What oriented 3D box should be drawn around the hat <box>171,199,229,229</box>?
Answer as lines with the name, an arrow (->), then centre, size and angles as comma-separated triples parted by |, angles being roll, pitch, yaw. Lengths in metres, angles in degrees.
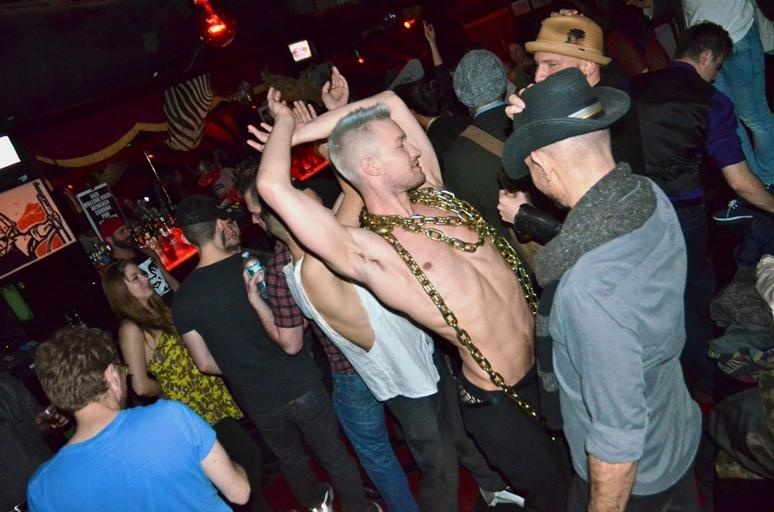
hat -> -1.511, -0.370, 4.316 | 0.343, 0.173, 0.225 | -22, 22, -25

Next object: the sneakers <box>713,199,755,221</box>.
sneakers -> 3.308, -0.438, 5.112 | 0.185, 0.182, 0.397 | -29, 11, -22

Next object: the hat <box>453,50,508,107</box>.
hat -> 0.754, -1.359, 4.346 | 0.363, 0.459, 0.371 | -11, 9, -14
